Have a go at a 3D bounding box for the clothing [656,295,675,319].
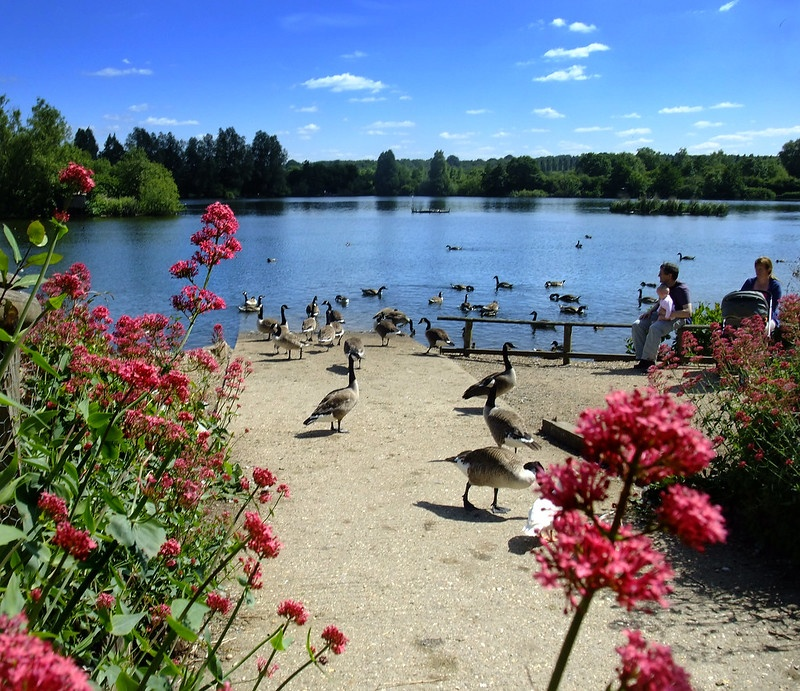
[{"bbox_3d":[5.262,-0.734,15.302,0.308,0.524,0.564,3,5,28],"label":"clothing"}]
